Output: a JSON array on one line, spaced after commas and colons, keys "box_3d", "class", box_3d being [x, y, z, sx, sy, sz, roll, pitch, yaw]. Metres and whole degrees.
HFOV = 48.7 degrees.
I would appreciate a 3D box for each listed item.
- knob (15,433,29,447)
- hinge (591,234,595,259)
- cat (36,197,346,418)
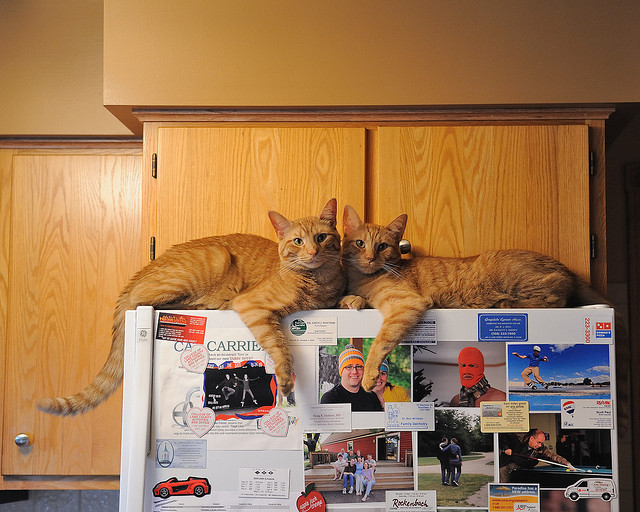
[{"box_3d": [-1.017, 0.630, 2.415, 0.046, 0.044, 0.024, -3, -6, 14], "class": "knob"}, {"box_3d": [0.878, -0.026, 2.269, 0.014, 0.074, 0.004, -3, -6, 16], "class": "hinge"}, {"box_3d": [-0.316, 0.150, 2.083, 0.737, 0.589, 0.395, -5, -7, 26], "class": "cat"}]
